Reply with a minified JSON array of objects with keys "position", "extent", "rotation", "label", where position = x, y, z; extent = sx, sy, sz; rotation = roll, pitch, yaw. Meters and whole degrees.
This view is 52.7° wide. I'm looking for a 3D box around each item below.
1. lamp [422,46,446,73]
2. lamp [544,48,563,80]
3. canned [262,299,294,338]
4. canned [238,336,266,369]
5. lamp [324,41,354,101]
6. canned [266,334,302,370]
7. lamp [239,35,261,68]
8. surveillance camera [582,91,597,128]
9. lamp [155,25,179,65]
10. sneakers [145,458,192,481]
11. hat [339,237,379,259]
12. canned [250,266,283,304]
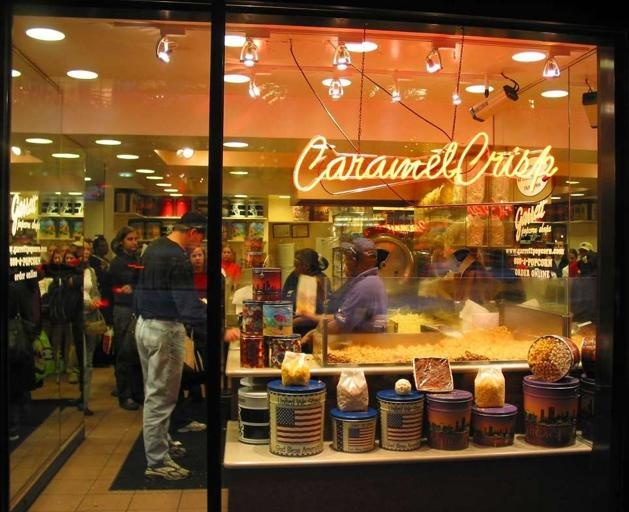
[{"position":[0.673,-1.104,3.575],"extent":[0.071,0.109,0.039],"rotation":[-2,31,-2],"label":"lamp"},{"position":[1.335,-1.076,3.555],"extent":[0.093,0.240,0.094],"rotation":[2,-2,18],"label":"lamp"},{"position":[-0.195,0.319,3.329],"extent":[0.164,0.174,0.166],"rotation":[5,6,23],"label":"canned"},{"position":[-0.326,0.491,3.304],"extent":[0.153,0.172,0.159],"rotation":[-4,-6,37],"label":"canned"},{"position":[0.135,-1.053,3.644],"extent":[0.163,0.239,0.374],"rotation":[0,0,1],"label":"lamp"},{"position":[-0.154,0.474,3.163],"extent":[0.171,0.162,0.148],"rotation":[1,-4,-4],"label":"canned"},{"position":[-0.350,-1.087,3.348],"extent":[0.098,0.155,0.099],"rotation":[3,-1,18],"label":"lamp"},{"position":[1.519,-0.807,3.506],"extent":[0.054,0.214,0.179],"rotation":[0,0,5],"label":"surveillance camera"},{"position":[-0.719,-1.026,3.086],"extent":[0.090,0.152,0.080],"rotation":[2,-26,-7],"label":"lamp"},{"position":[-0.732,1.052,3.114],"extent":[0.245,0.104,0.100],"rotation":[1,-5,3],"label":"sneakers"},{"position":[0.239,-0.036,3.528],"extent":[0.154,0.078,0.109],"rotation":[8,-8,5],"label":"hat"},{"position":[-0.257,0.146,3.373],"extent":[0.162,0.173,0.156],"rotation":[-3,4,-40],"label":"canned"}]
